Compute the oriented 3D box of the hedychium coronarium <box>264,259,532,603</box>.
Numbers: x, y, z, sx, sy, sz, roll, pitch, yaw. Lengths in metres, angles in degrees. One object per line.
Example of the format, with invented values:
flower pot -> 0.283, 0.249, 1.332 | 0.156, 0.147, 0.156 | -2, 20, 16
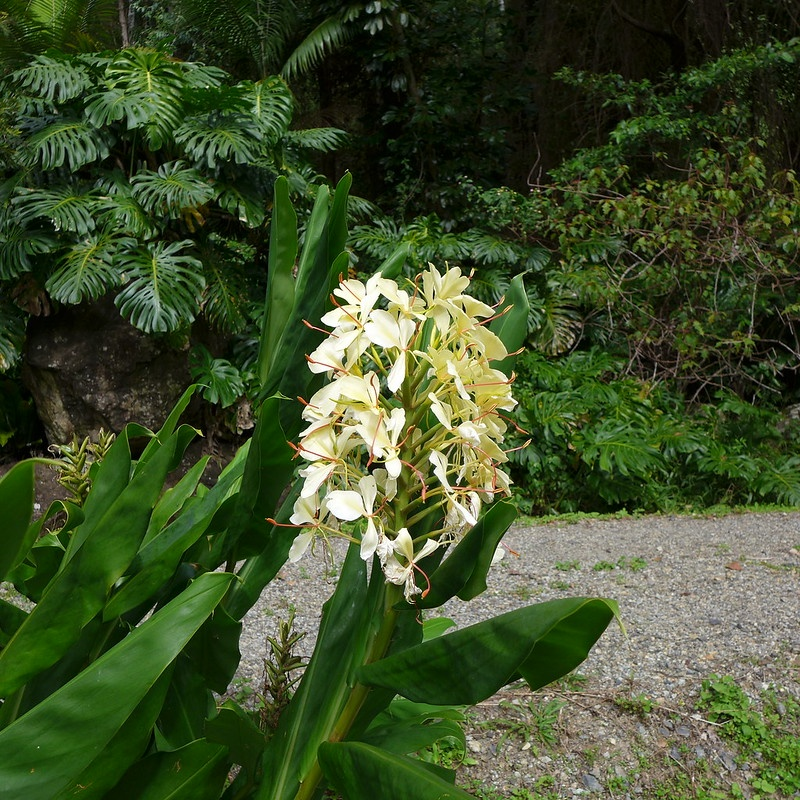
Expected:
hedychium coronarium -> 0.009, 0.035, 0.951 | 0.276, 0.409, 0.288 | -1, 7, 9
